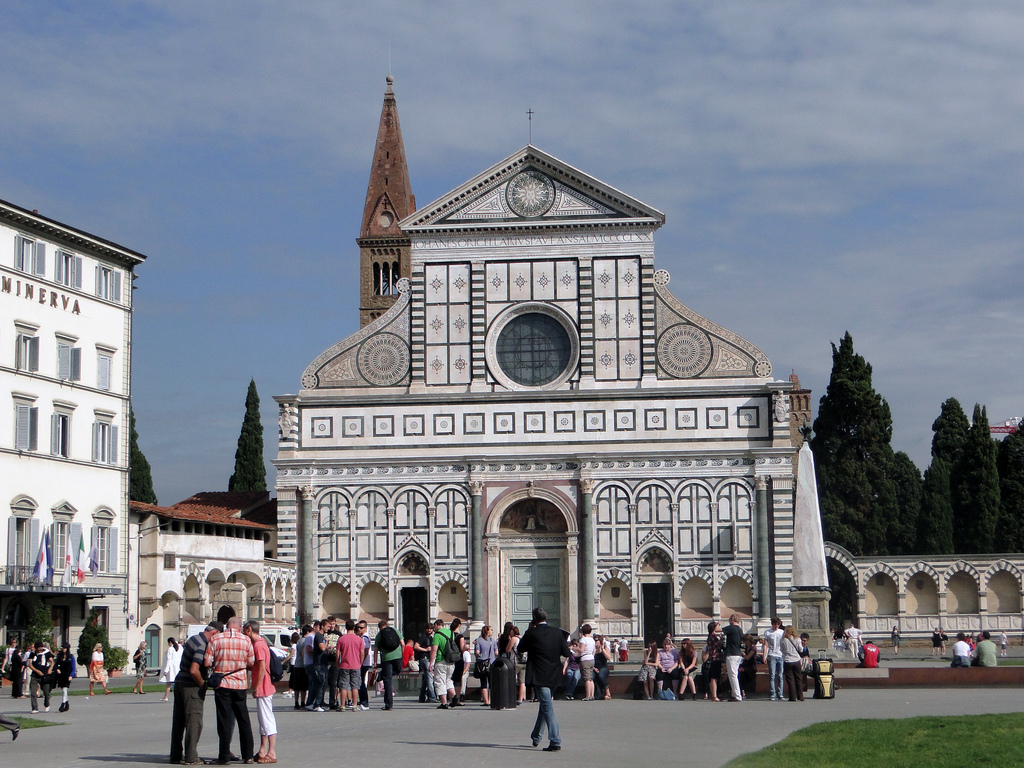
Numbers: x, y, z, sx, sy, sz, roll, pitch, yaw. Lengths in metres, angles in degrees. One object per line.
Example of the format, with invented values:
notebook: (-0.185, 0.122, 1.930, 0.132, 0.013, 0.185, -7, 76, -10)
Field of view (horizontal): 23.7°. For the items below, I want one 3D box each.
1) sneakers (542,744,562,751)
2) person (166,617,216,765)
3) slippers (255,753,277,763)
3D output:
sneakers: (0.853, 8.047, 54.031, 0.399, 0.152, 0.127, 1, -7, 11)
person: (-7.099, 6.811, 53.762, 0.977, 3.043, 0.864, 0, -13, -10)
slippers: (-5.422, 8.124, 52.966, 0.504, 0.189, 0.160, 3, -18, 8)
